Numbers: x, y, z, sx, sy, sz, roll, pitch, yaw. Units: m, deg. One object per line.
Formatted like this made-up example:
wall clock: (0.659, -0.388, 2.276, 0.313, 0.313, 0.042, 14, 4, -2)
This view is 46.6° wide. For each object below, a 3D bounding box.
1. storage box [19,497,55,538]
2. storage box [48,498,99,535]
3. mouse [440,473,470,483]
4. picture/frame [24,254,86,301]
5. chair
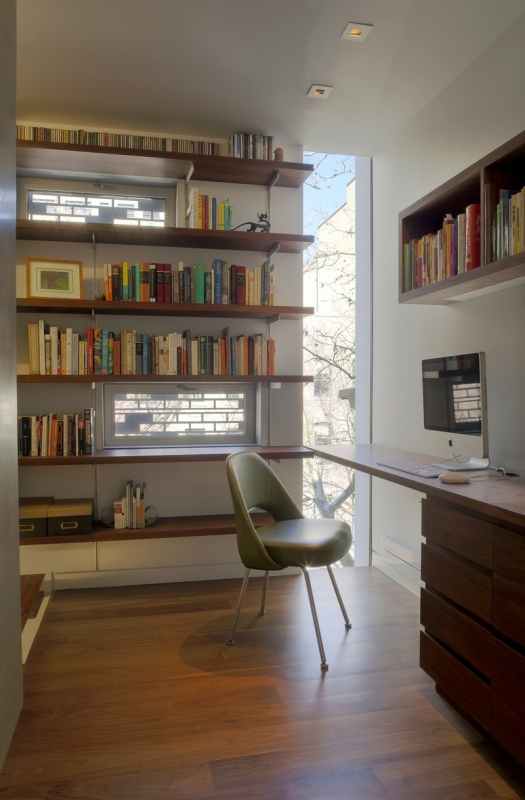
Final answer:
storage box: (-1.093, 0.560, 2.971, 0.152, 0.115, 0.224, 1, -1, -6)
storage box: (-0.941, 0.578, 3.007, 0.199, 0.134, 0.149, -3, 2, -10)
mouse: (0.611, 0.247, 1.962, 0.044, 0.021, 0.066, 1, -1, 7)
picture/frame: (-1.035, -0.601, 3.017, 0.253, 0.269, 0.020, 0, -8, -19)
chair: (0.133, 0.602, 2.465, 0.519, 0.745, 0.565, -1, 2, -12)
